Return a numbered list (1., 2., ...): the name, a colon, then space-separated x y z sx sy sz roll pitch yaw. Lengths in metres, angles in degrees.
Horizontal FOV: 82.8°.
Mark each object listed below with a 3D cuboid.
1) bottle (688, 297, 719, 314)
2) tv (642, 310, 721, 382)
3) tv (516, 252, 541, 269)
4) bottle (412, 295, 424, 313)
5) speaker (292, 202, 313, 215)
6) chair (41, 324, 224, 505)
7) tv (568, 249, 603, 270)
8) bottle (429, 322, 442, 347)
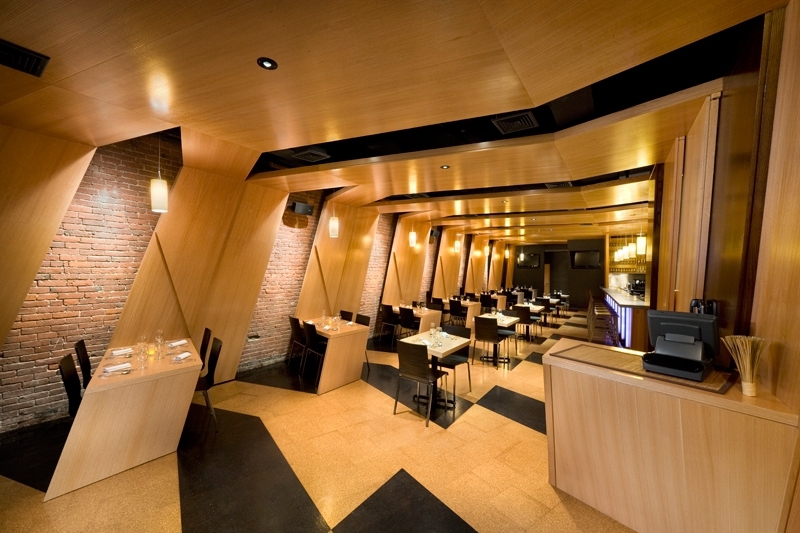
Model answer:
1. bottle: 3.187 0.429 4.784 0.239 0.188 0.219 2 1 0
2. tv: 2.787 0.810 4.499 0.710 0.667 0.407 3 9 36
3. tv: 5.978 -0.267 21.162 0.768 0.843 1.337 1 -4 -29
4. bottle: 0.430 0.927 10.989 0.323 0.334 0.265 4 -7 -40
5. speaker: -1.721 -1.023 8.067 0.155 0.190 0.349 17 7 34
6. chair: -3.293 1.728 5.462 1.598 1.377 0.776 -4 8 -36
7. tv: 7.180 -0.234 17.572 0.055 0.726 1.247 -5 9 -40
8. bottle: 0.554 1.081 6.970 0.241 0.334 0.229 0 -1 0
